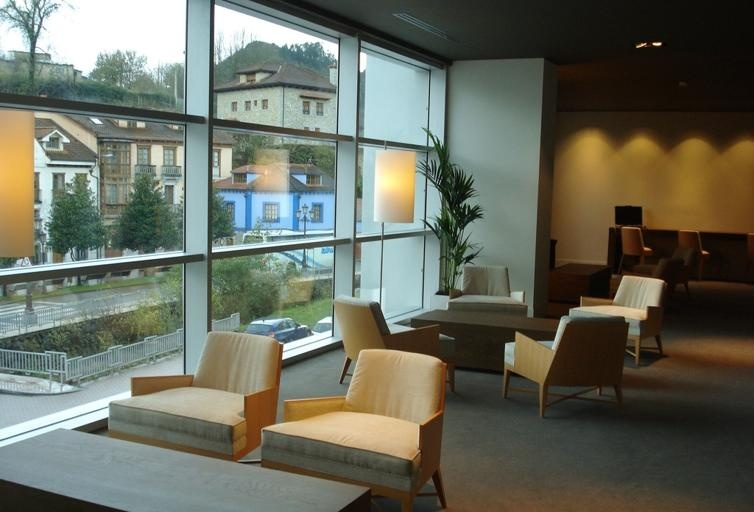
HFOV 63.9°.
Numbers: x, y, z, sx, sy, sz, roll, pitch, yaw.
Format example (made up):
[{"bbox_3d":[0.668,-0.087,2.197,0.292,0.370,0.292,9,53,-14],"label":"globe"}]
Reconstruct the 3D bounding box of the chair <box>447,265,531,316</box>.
[{"bbox_3d":[1.531,0.493,8.345,0.806,0.828,0.788,0,-8,5],"label":"chair"}]

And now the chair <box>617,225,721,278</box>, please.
[{"bbox_3d":[6.273,-0.098,13.187,1.923,1.292,1.115,-2,-2,37],"label":"chair"}]

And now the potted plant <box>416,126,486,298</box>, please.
[{"bbox_3d":[1.087,-0.680,9.599,1.202,2.551,0.934,11,14,20],"label":"potted plant"}]
